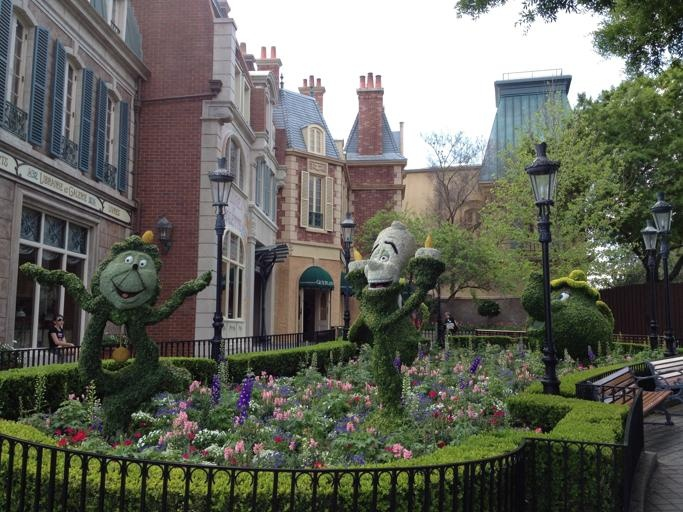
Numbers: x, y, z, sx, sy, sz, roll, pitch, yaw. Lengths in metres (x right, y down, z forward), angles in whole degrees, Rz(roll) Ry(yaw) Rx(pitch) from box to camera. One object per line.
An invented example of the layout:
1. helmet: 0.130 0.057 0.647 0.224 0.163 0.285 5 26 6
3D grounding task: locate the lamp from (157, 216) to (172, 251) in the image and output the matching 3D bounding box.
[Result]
1. lamp: -4.869 -0.563 20.786 0.428 0.969 0.418 -2 -10 2

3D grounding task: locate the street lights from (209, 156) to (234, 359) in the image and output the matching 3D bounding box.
1. street lights: -2.747 0.228 17.104 0.677 4.809 0.806 -3 -17 4
